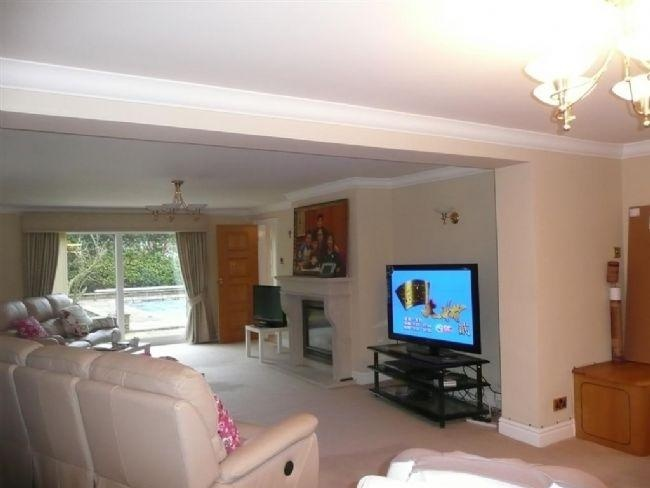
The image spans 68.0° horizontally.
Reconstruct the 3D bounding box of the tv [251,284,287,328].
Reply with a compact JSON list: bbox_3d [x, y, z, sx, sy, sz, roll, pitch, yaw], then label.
[{"bbox_3d":[-0.938,1.045,8.069,0.787,0.688,0.225,-3,-7,45],"label":"tv"}]

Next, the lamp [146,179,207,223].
[{"bbox_3d":[-1.881,-0.569,6.205,0.795,0.495,0.743,-2,1,-22],"label":"lamp"}]

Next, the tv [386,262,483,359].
[{"bbox_3d":[1.154,0.678,5.169,0.036,0.855,1.241,-2,-1,-37],"label":"tv"}]

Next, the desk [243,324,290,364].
[{"bbox_3d":[-1.007,1.717,8.369,0.662,0.508,0.676,1,-6,-21],"label":"desk"}]

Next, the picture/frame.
[{"bbox_3d":[-0.024,-0.091,6.775,0.046,0.837,1.113,3,-6,-29],"label":"picture/frame"}]
